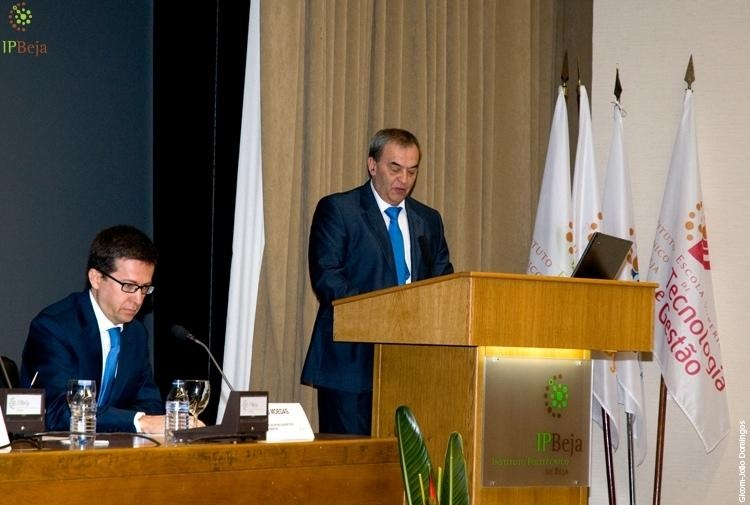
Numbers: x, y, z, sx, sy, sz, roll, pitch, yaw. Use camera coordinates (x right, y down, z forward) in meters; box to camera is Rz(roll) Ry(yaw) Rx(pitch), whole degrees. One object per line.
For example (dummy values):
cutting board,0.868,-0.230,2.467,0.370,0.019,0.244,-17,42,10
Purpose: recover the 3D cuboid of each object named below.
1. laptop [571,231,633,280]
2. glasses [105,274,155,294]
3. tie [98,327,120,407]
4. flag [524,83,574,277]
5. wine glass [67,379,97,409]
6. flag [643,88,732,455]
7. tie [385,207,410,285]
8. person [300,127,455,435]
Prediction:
laptop,1.188,0.022,5.269,0.234,0.363,0.035,11,21,-25
glasses,-1.254,0.163,5.165,0.257,0.099,0.095,5,-6,-30
tie,-1.347,0.586,5.199,0.065,0.470,0.062,4,-9,5
flag,1.192,-0.498,6.838,0.296,1.332,0.299,1,-4,7
wine glass,-1.295,0.627,4.502,0.102,0.126,0.112,-2,-6,13
flag,2.025,0.080,6.567,0.506,2.360,0.316,0,-4,13
tie,0.129,-0.043,5.753,0.107,0.460,0.061,-2,-23,-3
person,0.003,0.127,5.591,0.796,1.718,0.481,3,-4,-13
